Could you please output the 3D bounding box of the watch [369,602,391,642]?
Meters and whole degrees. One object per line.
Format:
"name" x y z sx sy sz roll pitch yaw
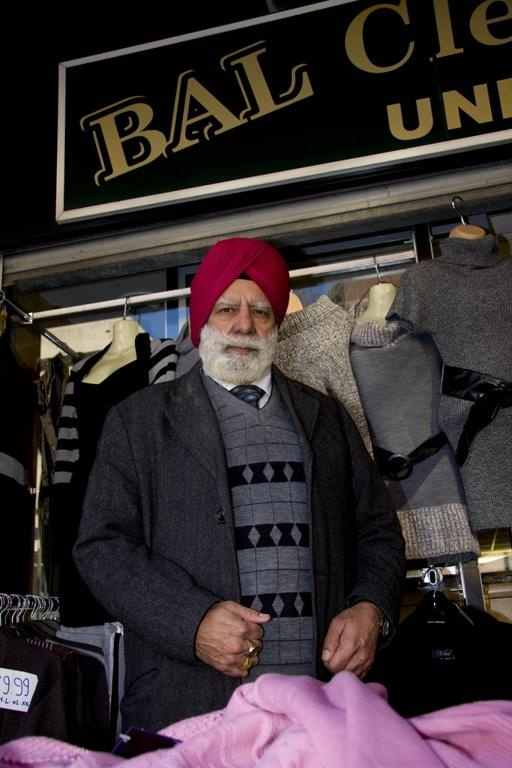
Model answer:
"watch" 0.256 0.487 1.418 0.032 0.067 0.071 -14 62 13

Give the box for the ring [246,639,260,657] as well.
"ring" -0.005 0.476 1.254 0.032 0.013 0.023 -39 53 19

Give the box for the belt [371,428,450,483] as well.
"belt" 0.461 0.199 2.072 0.186 0.101 0.135 -34 51 -3

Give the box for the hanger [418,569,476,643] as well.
"hanger" 0.484 0.583 1.811 0.129 0.051 0.172 -14 68 -16
